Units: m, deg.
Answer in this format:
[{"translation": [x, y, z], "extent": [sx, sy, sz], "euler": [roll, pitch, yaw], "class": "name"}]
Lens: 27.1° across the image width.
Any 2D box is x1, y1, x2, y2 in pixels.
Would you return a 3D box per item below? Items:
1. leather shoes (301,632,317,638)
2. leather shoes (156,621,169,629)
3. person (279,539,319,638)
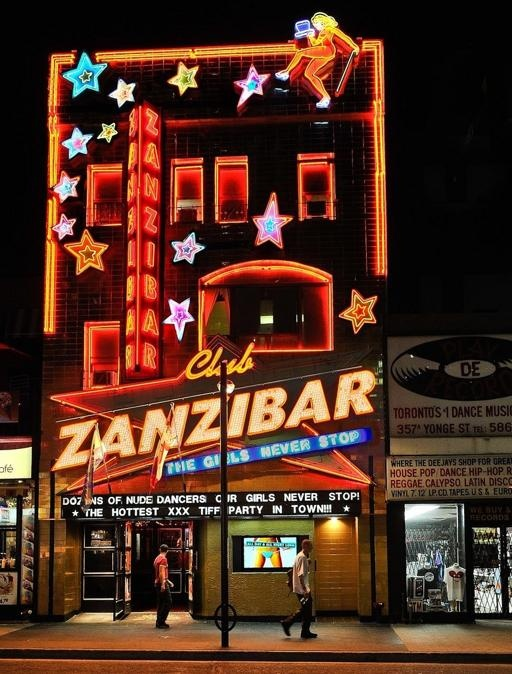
[{"translation": [1.136, 6.294, 22.385], "extent": [0.464, 0.124, 0.260], "euler": [8, -16, -34], "class": "leather shoes"}, {"translation": [-2.115, 6.514, 23.992], "extent": [0.305, 0.236, 0.117], "euler": [2, -6, -9], "class": "leather shoes"}, {"translation": [0.933, 5.410, 22.833], "extent": [0.712, 2.092, 1.528], "euler": [-1, -13, 2], "class": "person"}]
